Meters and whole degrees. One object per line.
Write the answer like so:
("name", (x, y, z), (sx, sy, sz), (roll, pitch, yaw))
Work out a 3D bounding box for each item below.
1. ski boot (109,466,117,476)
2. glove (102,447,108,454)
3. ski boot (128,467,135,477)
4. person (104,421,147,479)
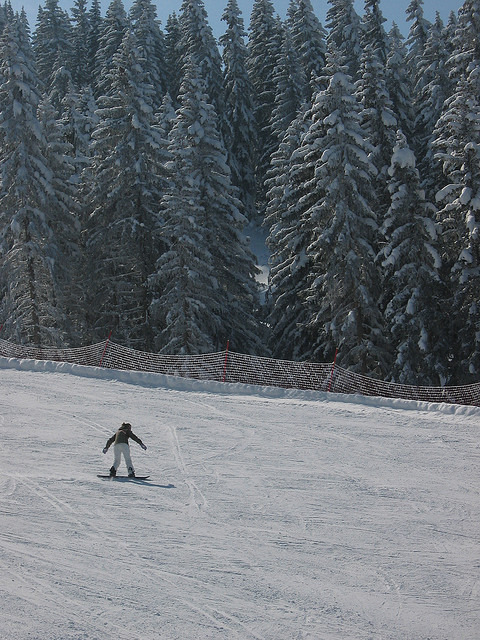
("ski boot", (-2.825, 3.400, 26.401), (0.138, 0.173, 0.262), (-5, 1, -2))
("glove", (-3.019, 2.953, 26.568), (0.103, 0.157, 0.152), (-1, -16, 2))
("ski boot", (-2.418, 3.429, 26.342), (0.134, 0.300, 0.119), (-11, 12, -30))
("person", (-2.600, 2.937, 26.599), (0.803, 1.167, 0.802), (-2, 13, -3))
